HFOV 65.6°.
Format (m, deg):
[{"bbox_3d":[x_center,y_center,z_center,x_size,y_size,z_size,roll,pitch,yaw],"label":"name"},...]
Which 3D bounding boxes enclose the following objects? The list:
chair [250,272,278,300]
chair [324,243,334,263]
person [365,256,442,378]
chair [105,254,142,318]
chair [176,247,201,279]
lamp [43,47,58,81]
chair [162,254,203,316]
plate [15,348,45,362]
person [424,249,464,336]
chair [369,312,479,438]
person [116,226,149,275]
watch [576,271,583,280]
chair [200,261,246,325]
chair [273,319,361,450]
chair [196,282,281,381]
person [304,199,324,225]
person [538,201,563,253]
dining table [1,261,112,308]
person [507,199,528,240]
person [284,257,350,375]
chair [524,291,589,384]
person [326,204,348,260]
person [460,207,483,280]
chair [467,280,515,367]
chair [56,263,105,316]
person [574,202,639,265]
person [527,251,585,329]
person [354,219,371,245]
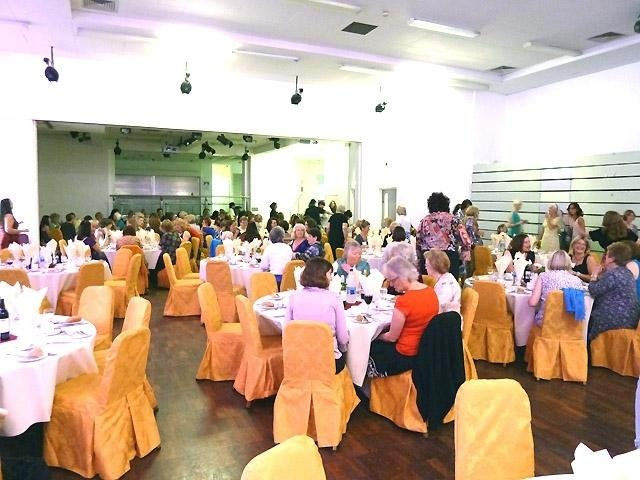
[{"bbox_3d":[-0.731,0.542,5.992,0.287,0.425,0.311,-1,2,-27],"label":"chair"},{"bbox_3d":[0.163,0.268,9.510,0.267,0.473,0.276,3,2,-3],"label":"chair"},{"bbox_3d":[0.801,0.754,4.915,0.835,1.140,0.817,-5,3,14],"label":"person"},{"bbox_3d":[-3.052,0.685,7.680,0.593,0.847,0.615,1,1,-31],"label":"chair"},{"bbox_3d":[-2.379,0.423,8.896,0.346,0.689,0.411,1,9,1],"label":"chair"},{"bbox_3d":[-5.092,-3.233,9.363,0.194,0.700,1.465,-3,5,-28],"label":"lamp"},{"bbox_3d":[-2.236,0.697,8.060,0.766,0.994,0.679,-4,3,-36],"label":"chair"},{"bbox_3d":[-2.274,0.894,3.874,0.230,0.099,0.136,-1,4,-7],"label":"plate"},{"bbox_3d":[1.233,0.447,5.124,0.398,0.773,0.491,1,30,13],"label":"person"},{"bbox_3d":[0.904,1.138,4.922,0.754,1.016,0.758,9,11,40],"label":"chair"},{"bbox_3d":[-3.462,0.008,9.051,0.422,0.763,0.491,1,-2,-9],"label":"person"},{"bbox_3d":[3.335,0.467,6.368,0.065,0.035,0.091,14,16,-17],"label":"watch"},{"bbox_3d":[-1.464,0.811,7.276,0.501,0.795,0.520,6,-26,-33],"label":"chair"},{"bbox_3d":[-0.056,1.259,4.450,0.744,1.147,0.413,-1,4,-8],"label":"chair"},{"bbox_3d":[-0.979,0.875,6.040,0.965,1.518,1.019,-2,13,-8],"label":"chair"},{"bbox_3d":[-0.135,-0.717,13.057,0.481,0.654,1.596,-1,4,0],"label":"person"},{"bbox_3d":[4.398,-0.201,9.402,0.351,0.854,0.476,1,5,27],"label":"person"},{"bbox_3d":[-3.644,0.548,6.785,1.023,0.543,1.096,1,-4,-3],"label":"dining table"},{"bbox_3d":[4.108,-0.207,10.272,0.382,1.191,0.394,-7,7,-32],"label":"person"},{"bbox_3d":[0.048,0.628,4.719,0.542,1.038,0.572,14,25,36],"label":"person"},{"bbox_3d":[2.750,1.068,5.709,0.541,0.946,0.570,2,0,29],"label":"chair"},{"bbox_3d":[0.371,-0.110,10.466,0.396,0.883,0.520,-1,4,1],"label":"person"},{"bbox_3d":[2.776,0.030,8.904,0.372,1.610,0.469,-10,35,5],"label":"person"},{"bbox_3d":[2.104,1.059,6.156,0.552,0.913,0.581,-4,-25,34],"label":"chair"},{"bbox_3d":[-2.993,0.635,6.178,0.435,0.773,0.509,19,13,27],"label":"chair"},{"bbox_3d":[4.449,-0.099,7.637,0.920,0.512,1.438,6,-31,26],"label":"person"},{"bbox_3d":[2.712,0.536,5.791,0.545,0.895,0.467,-9,30,-9],"label":"person"},{"bbox_3d":[0.861,-0.304,9.967,0.362,0.753,0.758,-1,6,6],"label":"person"}]
